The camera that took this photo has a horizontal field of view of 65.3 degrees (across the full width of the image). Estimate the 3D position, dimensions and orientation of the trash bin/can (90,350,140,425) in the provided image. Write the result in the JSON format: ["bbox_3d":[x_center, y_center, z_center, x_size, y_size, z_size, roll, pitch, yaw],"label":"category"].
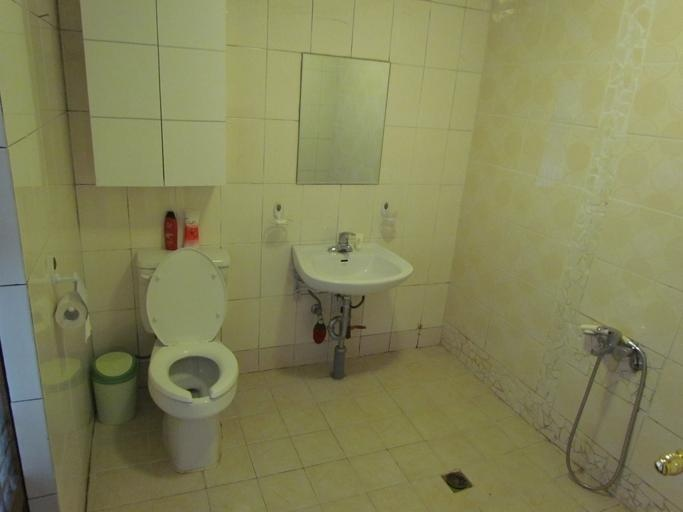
[{"bbox_3d":[-1.339,0.785,3.177,0.238,0.348,0.231,-3,20,-17],"label":"trash bin/can"}]

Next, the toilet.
[{"bbox_3d":[-0.822,0.566,2.932,0.456,1.094,0.625,-4,21,-20],"label":"toilet"}]

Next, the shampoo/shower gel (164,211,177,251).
[{"bbox_3d":[-1.013,-0.153,3.161,0.084,0.229,0.078,-4,20,-19],"label":"shampoo/shower gel"}]

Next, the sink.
[{"bbox_3d":[0.063,0.090,3.359,0.674,0.181,0.565,-4,21,-19],"label":"sink"}]

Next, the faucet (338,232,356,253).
[{"bbox_3d":[0.023,-0.098,3.550,0.123,0.128,0.128,-5,29,-15],"label":"faucet"}]

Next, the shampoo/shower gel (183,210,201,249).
[{"bbox_3d":[-0.892,-0.161,3.175,0.085,0.203,0.072,-3,20,-16],"label":"shampoo/shower gel"}]

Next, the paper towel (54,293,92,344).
[{"bbox_3d":[-1.140,0.248,2.264,0.119,0.213,0.156,-5,21,-21],"label":"paper towel"}]
